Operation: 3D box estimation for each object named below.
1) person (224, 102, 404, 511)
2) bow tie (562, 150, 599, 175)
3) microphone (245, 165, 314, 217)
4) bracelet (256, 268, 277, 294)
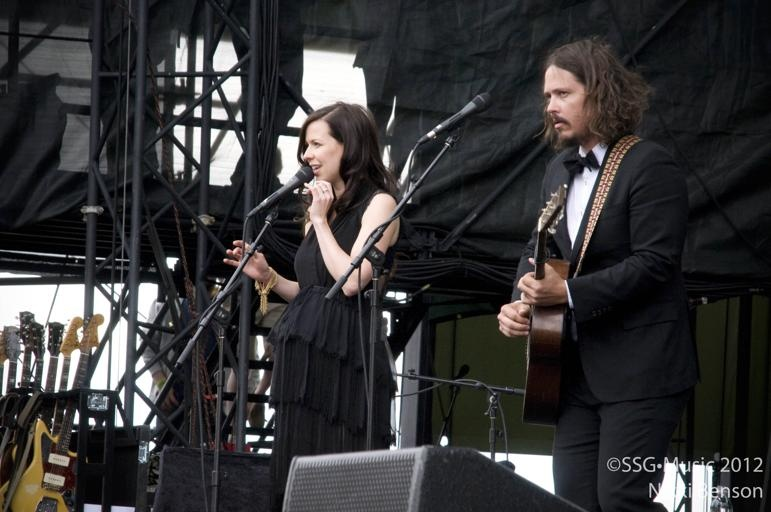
[{"bbox_3d":[-0.381,0.282,8.183,0.934,2.582,0.509,4,-11,0],"label":"person"},{"bbox_3d":[1.176,-0.569,7.945,0.183,0.133,0.072,-4,-14,36],"label":"bow tie"},{"bbox_3d":[-0.775,-0.477,9.385,0.597,0.139,0.146,-38,12,2],"label":"microphone"},{"bbox_3d":[-0.759,0.157,8.467,0.060,0.149,0.140,2,0,-40],"label":"bracelet"}]
